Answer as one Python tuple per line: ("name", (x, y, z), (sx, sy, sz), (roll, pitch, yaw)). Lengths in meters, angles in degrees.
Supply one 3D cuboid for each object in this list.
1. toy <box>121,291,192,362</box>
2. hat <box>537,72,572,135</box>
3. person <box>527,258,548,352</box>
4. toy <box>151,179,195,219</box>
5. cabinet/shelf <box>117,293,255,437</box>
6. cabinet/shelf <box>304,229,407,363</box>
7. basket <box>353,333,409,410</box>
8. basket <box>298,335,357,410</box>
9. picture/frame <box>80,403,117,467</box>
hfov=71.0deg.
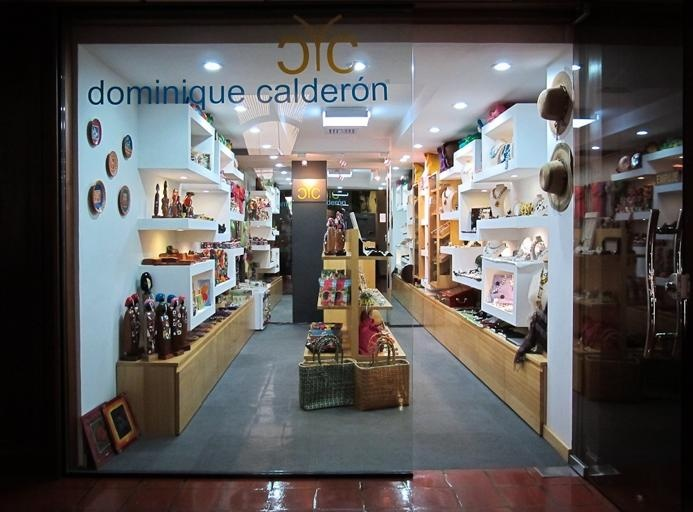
("toy", (-1.592, 0.548, 4.221), (0.424, 0.730, 0.745), (-3, -3, 42))
("hat", (1.631, -1.172, 3.739), (0.135, 0.410, 0.406), (-2, 29, -18))
("person", (1.736, 0.407, 4.357), (0.182, 0.803, 0.650), (6, 15, 21))
("toy", (-1.611, -0.525, 4.469), (0.355, 0.367, 0.127), (2, -4, -43))
("cabinet/shelf", (-1.433, 1.012, 4.558), (0.496, 0.625, 1.505), (5, 15, 14))
("cabinet/shelf", (0.061, 0.327, 5.305), (0.984, 1.324, 1.892), (0, 1, -3))
("basket", (0.334, 1.047, 4.488), (0.513, 0.587, 0.453), (1, 14, 1))
("basket", (-0.182, 1.076, 4.489), (0.515, 0.531, 0.471), (-1, 14, -7))
("picture/frame", (-1.827, 1.318, 3.584), (0.145, 0.358, 0.256), (3, 14, 8))
